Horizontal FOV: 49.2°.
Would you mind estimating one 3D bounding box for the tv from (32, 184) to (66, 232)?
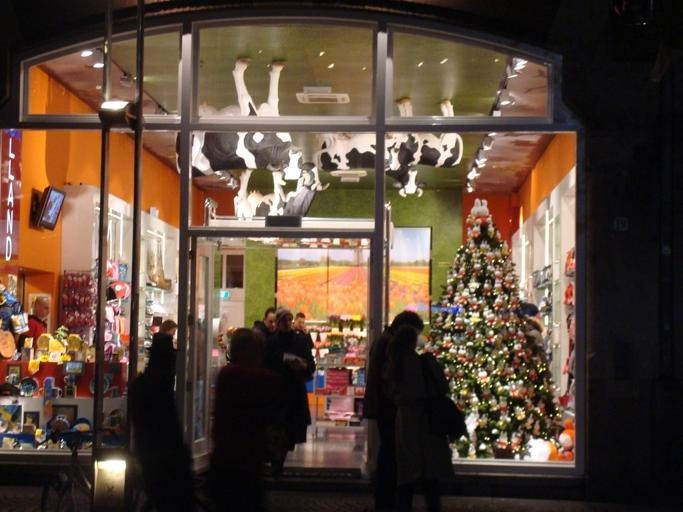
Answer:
[{"bbox_3d":[-3.612,-0.587,9.083,0.207,0.507,0.585,17,-4,-3],"label":"tv"}]

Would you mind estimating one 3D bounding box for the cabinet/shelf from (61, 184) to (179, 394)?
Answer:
[{"bbox_3d":[-2.400,0.369,7.988,0.668,2.415,2.037,-3,-6,20],"label":"cabinet/shelf"}]

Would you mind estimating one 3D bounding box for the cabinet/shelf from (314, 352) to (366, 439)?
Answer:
[{"bbox_3d":[0.036,1.480,7.896,0.439,0.831,0.624,5,-7,-6],"label":"cabinet/shelf"}]

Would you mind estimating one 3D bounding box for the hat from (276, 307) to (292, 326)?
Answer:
[{"bbox_3d":[-0.577,0.610,7.515,0.118,0.137,0.163,3,-8,-14],"label":"hat"}]
